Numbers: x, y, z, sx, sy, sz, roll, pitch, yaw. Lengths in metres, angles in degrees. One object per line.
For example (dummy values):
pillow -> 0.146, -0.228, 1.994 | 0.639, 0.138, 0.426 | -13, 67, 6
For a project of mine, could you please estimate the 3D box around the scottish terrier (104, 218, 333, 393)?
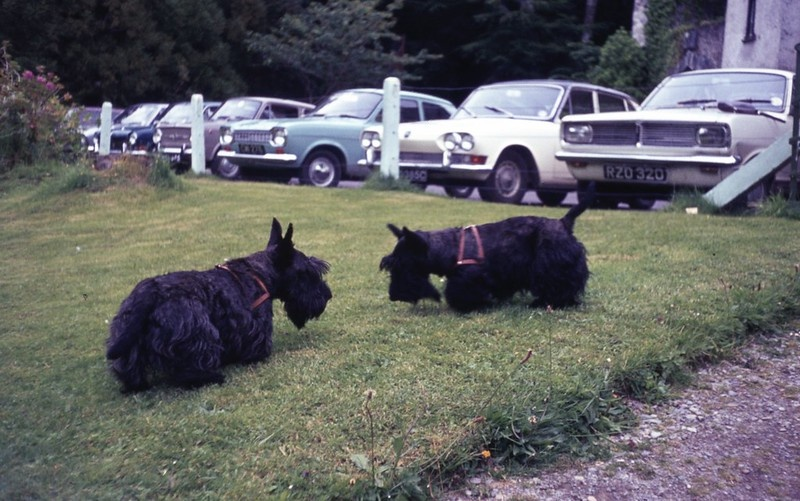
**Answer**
scottish terrier -> -1.900, 0.622, 8.658 | 0.976, 1.470, 2.746 | 6, 11, 38

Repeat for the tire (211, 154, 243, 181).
tire -> -3.833, -1.820, 17.469 | 0.528, 0.580, 0.221 | -16, 3, 11

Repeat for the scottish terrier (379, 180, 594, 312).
scottish terrier -> 1.118, 0.027, 9.415 | 2.439, 1.459, 0.865 | -7, 13, 1

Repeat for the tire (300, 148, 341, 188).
tire -> -1.653, -1.698, 16.071 | 0.773, 0.844, 0.288 | 0, 11, -18
